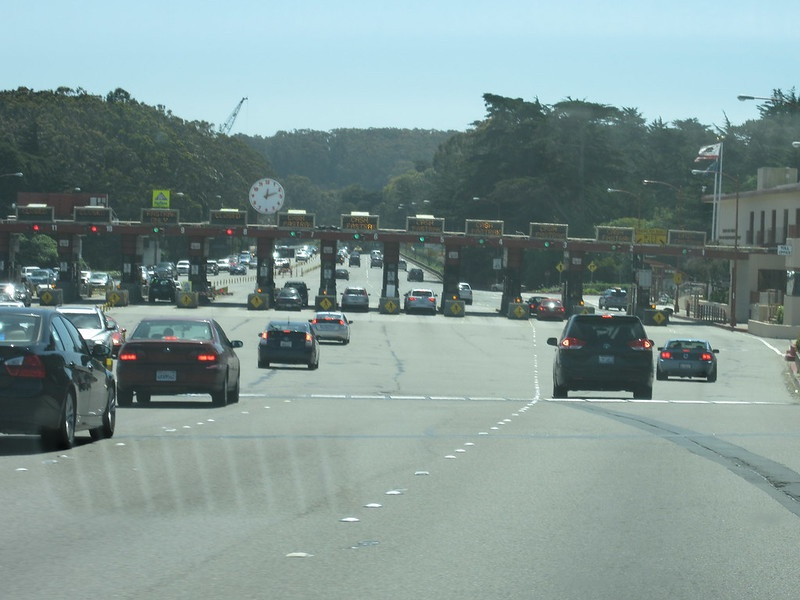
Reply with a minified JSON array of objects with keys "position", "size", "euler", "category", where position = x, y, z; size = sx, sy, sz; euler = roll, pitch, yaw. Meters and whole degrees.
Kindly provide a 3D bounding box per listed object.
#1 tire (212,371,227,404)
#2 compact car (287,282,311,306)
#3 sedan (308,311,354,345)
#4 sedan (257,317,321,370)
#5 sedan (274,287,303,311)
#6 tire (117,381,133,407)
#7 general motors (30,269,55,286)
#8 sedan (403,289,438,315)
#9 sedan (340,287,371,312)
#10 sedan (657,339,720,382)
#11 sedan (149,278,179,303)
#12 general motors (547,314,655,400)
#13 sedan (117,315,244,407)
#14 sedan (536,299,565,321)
[{"position":[-3.348,1.552,22.478],"size":[0.170,0.560,0.537],"euler":[-3,-7,6],"category":"tire"},{"position":[-6.666,-0.565,79.991],"size":[1.029,0.985,1.980],"euler":[2,17,0],"category":"compact car"},{"position":[-2.631,0.993,47.232],"size":[0.896,0.728,1.983],"euler":[2,6,3],"category":"sedan"},{"position":[-3.147,1.145,35.038],"size":[1.009,0.833,1.811],"euler":[1,8,2],"category":"sedan"},{"position":[-6.666,-0.038,72.143],"size":[1.372,1.190,1.728],"euler":[1,1,-16],"category":"sedan"},{"position":[-5.116,1.679,22.602],"size":[0.156,0.470,0.449],"euler":[0,4,-2],"category":"tire"},{"position":[-25.107,-1.568,85.396],"size":[1.218,1.069,2.115],"euler":[0,-9,-5],"category":"general motors"},{"position":[1.201,0.089,75.863],"size":[1.915,1.492,2.254],"euler":[1,1,1],"category":"sedan"},{"position":[-2.832,-0.028,75.293],"size":[1.178,1.078,2.654],"euler":[1,8,0],"category":"sedan"},{"position":[8.506,1.762,36.406],"size":[1.738,1.188,1.234],"euler":[2,1,11],"category":"sedan"},{"position":[-14.810,-0.521,76.089],"size":[1.261,1.121,2.317],"euler":[0,8,-2],"category":"sedan"},{"position":[4.206,1.231,25.746],"size":[1.622,1.145,2.767],"euler":[1,5,3],"category":"general motors"},{"position":[-4.035,1.050,23.223],"size":[1.242,0.874,2.534],"euler":[0,5,2],"category":"sedan"},{"position":[9.182,0.582,75.270],"size":[1.004,0.887,2.568],"euler":[1,6,4],"category":"sedan"}]
